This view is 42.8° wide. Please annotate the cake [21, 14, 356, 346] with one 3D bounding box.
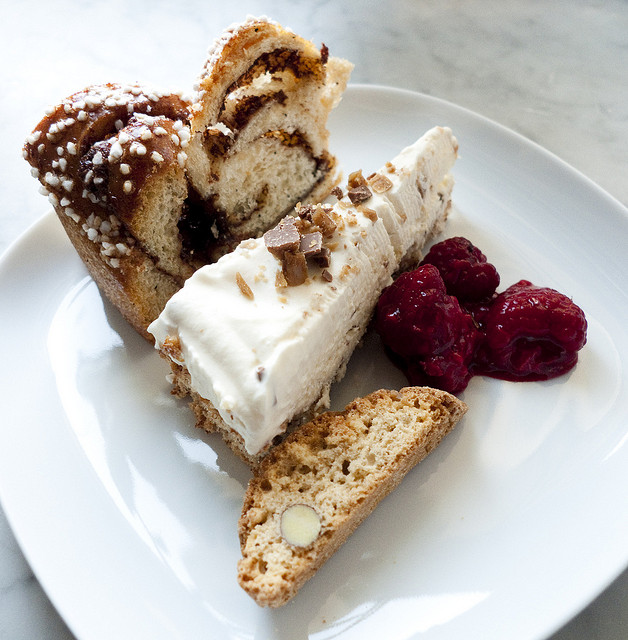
[{"bbox_3d":[-0.391,-0.429,2.448,1.254,0.886,0.595,-31,49,-22],"label":"cake"}]
